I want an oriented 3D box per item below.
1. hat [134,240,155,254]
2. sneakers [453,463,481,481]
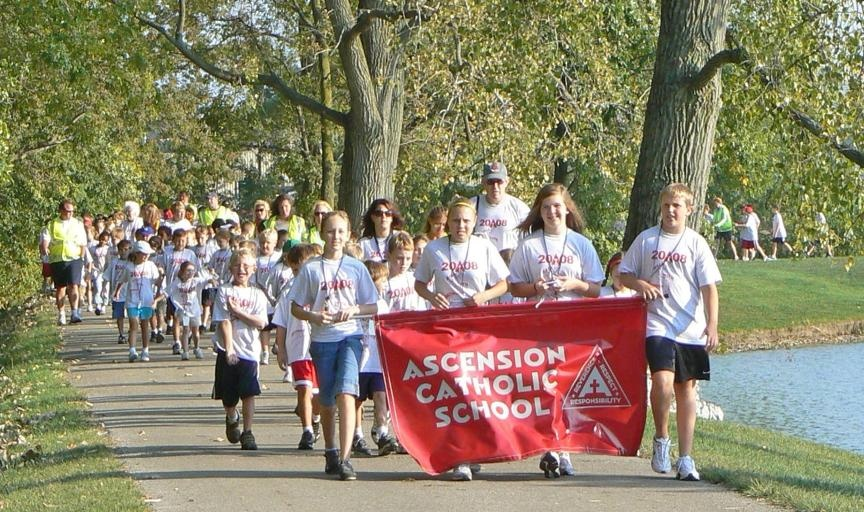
[{"bbox_3d":[-6.601,-0.178,33.810,0.360,0.157,0.260,16,10,11],"label":"hat"},{"bbox_3d":[0.652,3.892,26.493,0.197,0.256,0.594,-11,-18,35],"label":"sneakers"}]
